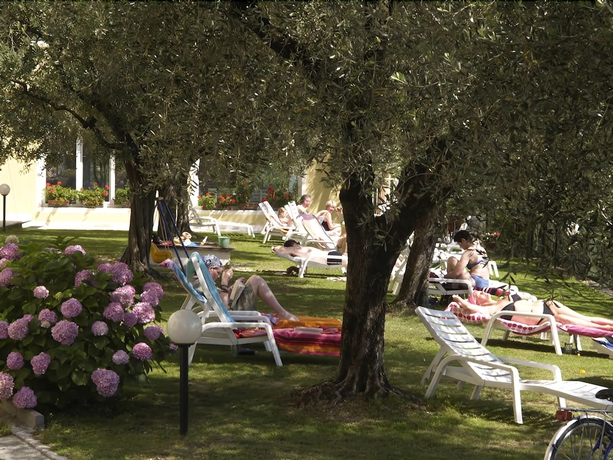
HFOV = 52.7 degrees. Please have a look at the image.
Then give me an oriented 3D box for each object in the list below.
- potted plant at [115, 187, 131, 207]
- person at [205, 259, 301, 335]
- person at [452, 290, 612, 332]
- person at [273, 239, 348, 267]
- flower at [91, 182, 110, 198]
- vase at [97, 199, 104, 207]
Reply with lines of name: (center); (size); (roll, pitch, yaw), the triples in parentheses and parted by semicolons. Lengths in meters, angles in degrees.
potted plant: (-8.914, -1.534, 29.884); (0.989, 0.926, 0.488); (7, 6, 44)
person: (-0.810, 0.828, 8.333); (1.478, 1.002, 0.737); (-1, 3, -22)
person: (3.314, 1.217, 9.243); (1.859, 0.424, 1.027); (4, -3, 25)
person: (0.146, 0.589, 14.554); (1.319, 0.300, 0.745); (12, 0, 9)
flower: (-10.140, -1.944, 30.348); (0.817, 0.792, 1.591); (1, 5, -19)
vase: (-9.878, -1.261, 29.632); (0.296, 0.309, 0.268); (1, -2, -8)
